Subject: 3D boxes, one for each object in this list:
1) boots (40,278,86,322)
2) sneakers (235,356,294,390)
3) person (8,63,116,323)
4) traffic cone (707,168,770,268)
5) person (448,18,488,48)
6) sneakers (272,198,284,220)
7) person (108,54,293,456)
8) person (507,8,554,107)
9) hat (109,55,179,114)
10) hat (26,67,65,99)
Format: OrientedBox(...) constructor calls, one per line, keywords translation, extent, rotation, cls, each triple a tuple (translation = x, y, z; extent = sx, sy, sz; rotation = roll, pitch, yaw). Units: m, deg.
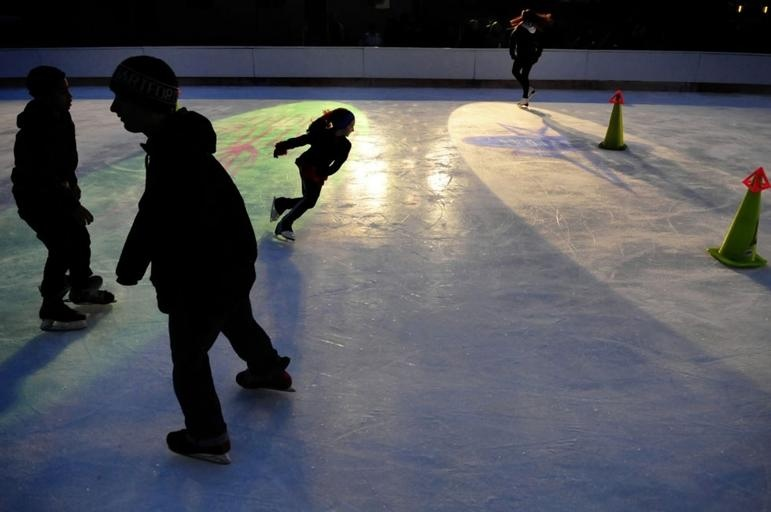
OrientedBox(translation=(-2.911, 0.398, 5.885), extent=(0.595, 0.406, 0.207), rotation=(3, 40, -28), cls="boots")
OrientedBox(translation=(-0.992, 0.963, 5.224), extent=(0.470, 0.265, 0.143), rotation=(13, 29, -1), cls="sneakers")
OrientedBox(translation=(-2.950, -0.473, 5.618), extent=(0.669, 2.279, 0.667), rotation=(-11, 26, -19), cls="person")
OrientedBox(translation=(3.817, -0.428, 6.727), extent=(0.571, 1.046, 0.565), rotation=(6, 25, 19), cls="traffic cone")
OrientedBox(translation=(2.537, -6.800, 19.312), extent=(1.258, 0.931, 0.257), rotation=(-1, 25, 4), cls="person")
OrientedBox(translation=(-1.284, -0.539, 7.369), extent=(0.091, 0.231, 0.167), rotation=(12, 11, 38), cls="sneakers")
OrientedBox(translation=(-1.525, 0.069, 4.703), extent=(1.025, 2.946, 0.949), rotation=(12, 28, 29), cls="person")
OrientedBox(translation=(3.116, -4.304, 13.858), extent=(0.788, 1.993, 1.185), rotation=(2, 24, 9), cls="person")
OrientedBox(translation=(-1.711, -1.233, 4.578), extent=(0.491, 0.314, 0.420), rotation=(1, 28, -23), cls="hat")
OrientedBox(translation=(-2.937, -1.502, 5.502), extent=(0.295, 0.256, 0.230), rotation=(-12, 25, -24), cls="hat")
